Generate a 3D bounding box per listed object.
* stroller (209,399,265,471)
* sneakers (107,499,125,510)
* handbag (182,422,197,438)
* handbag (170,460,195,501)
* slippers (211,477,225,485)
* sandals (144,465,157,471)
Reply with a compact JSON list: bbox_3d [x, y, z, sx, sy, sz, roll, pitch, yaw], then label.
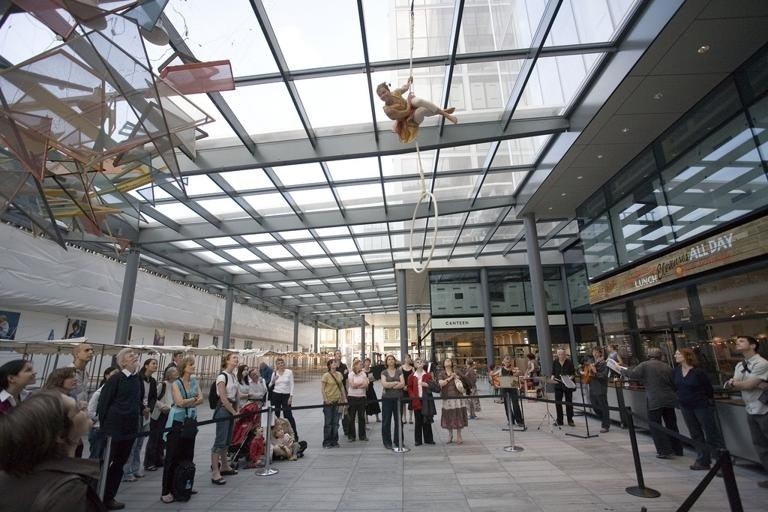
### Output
[{"bbox_3d":[-2.858,3.779,8.699,0.908,1.468,0.553,-3,-18,6],"label":"stroller"},{"bbox_3d":[-4.181,3.946,6.573,0.297,0.110,0.107,3,-9,6],"label":"sneakers"},{"bbox_3d":[-3.272,2.937,6.996,0.133,0.223,0.181,-35,-45,28],"label":"handbag"},{"bbox_3d":[-3.308,3.726,6.863,0.306,0.610,0.263,9,-21,-29],"label":"handbag"},{"bbox_3d":[-2.998,4.107,7.575,0.267,0.087,0.097,-16,-23,40],"label":"slippers"},{"bbox_3d":[-4.664,4.270,8.343,0.221,0.082,0.079,2,-13,4],"label":"sandals"}]
